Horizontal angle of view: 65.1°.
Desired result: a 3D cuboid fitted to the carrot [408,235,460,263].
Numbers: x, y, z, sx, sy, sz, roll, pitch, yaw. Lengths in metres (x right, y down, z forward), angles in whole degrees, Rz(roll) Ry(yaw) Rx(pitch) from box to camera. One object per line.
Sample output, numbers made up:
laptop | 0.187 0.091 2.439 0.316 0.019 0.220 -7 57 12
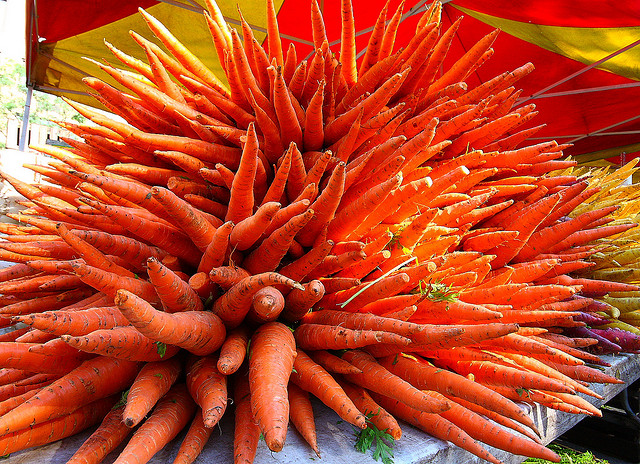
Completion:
carrot | 0.574 0.077 2.584 0.081 0.082 0.345 -17 -8 -30

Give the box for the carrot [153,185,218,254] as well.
carrot | -0.583 -0.055 2.246 0.419 0.109 0.121 49 31 -38

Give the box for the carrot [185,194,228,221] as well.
carrot | -0.546 -0.115 2.406 0.239 0.057 0.054 28 7 -34

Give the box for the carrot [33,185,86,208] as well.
carrot | -1.348 -0.185 2.630 0.281 0.052 0.050 21 17 11

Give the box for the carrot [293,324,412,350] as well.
carrot | 0.148 0.461 2.222 0.566 0.140 0.117 -3 3 27

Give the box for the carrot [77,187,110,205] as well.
carrot | -1.023 -0.164 2.297 0.187 0.027 0.022 30 54 -5

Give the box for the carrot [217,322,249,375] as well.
carrot | -0.362 0.489 2.140 0.069 0.074 0.263 2 17 5

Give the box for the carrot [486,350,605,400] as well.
carrot | 1.098 0.713 2.516 0.734 0.079 0.077 23 31 1

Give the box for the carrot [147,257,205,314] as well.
carrot | -0.595 0.264 2.175 0.120 0.328 0.113 -25 52 -1

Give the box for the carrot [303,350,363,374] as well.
carrot | 0.060 0.592 2.282 0.261 0.054 0.055 13 36 39

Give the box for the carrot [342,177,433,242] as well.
carrot | 0.323 -0.107 2.434 0.072 0.388 0.065 50 6 29

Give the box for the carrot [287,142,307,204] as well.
carrot | -0.118 -0.277 2.451 0.079 0.303 0.090 5 22 3

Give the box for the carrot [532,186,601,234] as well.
carrot | 1.440 -0.126 2.985 0.050 0.461 0.056 49 6 -19

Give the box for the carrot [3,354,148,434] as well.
carrot | -1.001 0.686 2.119 0.590 0.147 0.133 -21 64 -28

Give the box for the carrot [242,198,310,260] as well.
carrot | -0.199 -0.012 2.248 0.071 0.358 0.068 28 25 -56

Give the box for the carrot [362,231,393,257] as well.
carrot | 0.270 0.057 2.417 0.040 0.129 0.037 34 20 -41

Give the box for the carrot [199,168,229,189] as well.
carrot | -0.505 -0.257 2.471 0.056 0.059 0.196 3 -19 24

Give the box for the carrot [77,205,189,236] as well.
carrot | -0.842 -0.050 2.296 0.336 0.050 0.046 16 46 5

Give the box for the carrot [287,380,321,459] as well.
carrot | -0.084 0.798 2.244 0.085 0.091 0.379 28 27 -28

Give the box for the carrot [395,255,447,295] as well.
carrot | 0.479 0.212 2.404 0.055 0.219 0.050 45 -10 44

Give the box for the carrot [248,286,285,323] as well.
carrot | -0.234 0.330 2.178 0.142 0.206 0.190 9 11 -7

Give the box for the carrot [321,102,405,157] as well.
carrot | 0.220 -0.515 2.572 0.078 0.524 0.077 39 28 -28

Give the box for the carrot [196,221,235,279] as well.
carrot | -0.455 0.080 2.258 0.093 0.349 0.084 25 29 -8

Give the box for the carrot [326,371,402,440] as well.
carrot | 0.193 0.770 2.229 0.478 0.102 0.124 29 23 34

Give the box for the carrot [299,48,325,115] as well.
carrot | -0.037 -0.799 2.636 0.068 0.401 0.103 29 51 11

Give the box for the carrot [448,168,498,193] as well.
carrot | 0.827 -0.283 2.760 0.321 0.080 0.067 -19 26 12

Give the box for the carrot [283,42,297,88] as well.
carrot | -0.176 -0.916 2.768 0.060 0.347 0.086 1 27 -6

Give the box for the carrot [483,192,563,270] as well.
carrot | 1.134 0.005 2.853 0.128 0.534 0.110 45 10 -3

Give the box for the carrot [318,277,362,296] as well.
carrot | 0.089 0.263 2.359 0.222 0.068 0.072 -8 -25 34

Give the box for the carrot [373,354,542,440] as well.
carrot | 0.599 0.758 2.305 0.787 0.111 0.106 24 23 6

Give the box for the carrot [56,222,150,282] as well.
carrot | -0.955 0.091 2.274 0.437 0.060 0.063 39 35 -32

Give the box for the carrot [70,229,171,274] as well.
carrot | -0.878 0.087 2.246 0.336 0.065 0.081 22 45 -20

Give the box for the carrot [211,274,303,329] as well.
carrot | -0.282 0.275 2.114 0.163 0.145 0.506 39 -33 -16

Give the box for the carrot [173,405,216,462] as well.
carrot | -0.516 0.862 2.129 0.076 0.080 0.347 13 31 5

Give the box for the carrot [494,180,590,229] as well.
carrot | 1.268 -0.161 2.936 0.533 0.083 0.077 -26 9 0

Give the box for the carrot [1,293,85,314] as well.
carrot | -1.356 0.355 2.510 0.325 0.049 0.050 -8 -25 -10

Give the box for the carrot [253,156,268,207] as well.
carrot | -0.288 -0.248 2.518 0.065 0.233 0.070 0 33 -1

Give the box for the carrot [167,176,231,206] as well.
carrot | -0.596 -0.233 2.508 0.394 0.106 0.087 5 -8 28

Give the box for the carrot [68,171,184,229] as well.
carrot | -0.883 -0.142 2.319 0.504 0.076 0.071 33 -1 -27

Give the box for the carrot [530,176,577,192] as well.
carrot | 1.399 -0.292 3.052 0.371 0.057 0.056 -13 -9 -8

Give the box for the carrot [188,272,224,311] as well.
carrot | -0.507 0.268 2.249 0.085 0.192 0.063 -23 54 -2

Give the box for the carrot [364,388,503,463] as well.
carrot | 0.493 0.864 2.247 0.637 0.075 0.088 28 29 13
